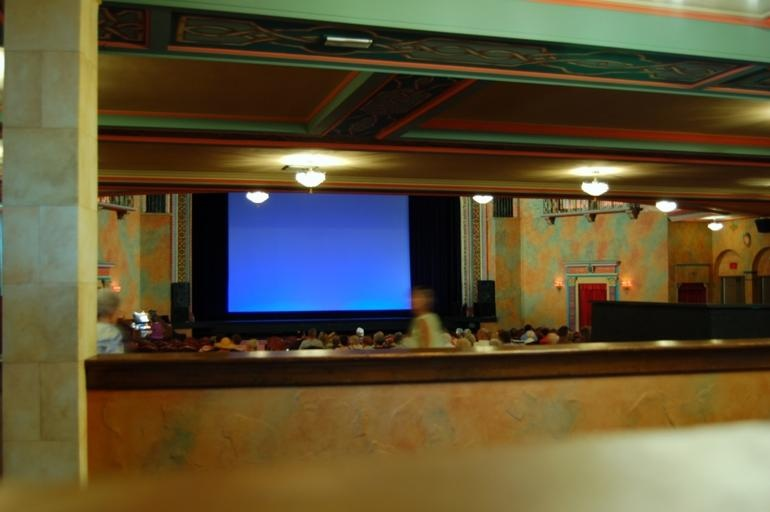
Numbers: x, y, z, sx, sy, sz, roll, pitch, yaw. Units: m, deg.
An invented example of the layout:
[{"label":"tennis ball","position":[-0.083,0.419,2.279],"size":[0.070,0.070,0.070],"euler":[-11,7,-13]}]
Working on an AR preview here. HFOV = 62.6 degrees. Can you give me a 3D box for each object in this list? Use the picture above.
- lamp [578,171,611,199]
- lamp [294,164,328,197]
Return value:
[{"label":"lamp","position":[3.835,-1.223,11.769],"size":[0.626,0.555,0.626],"euler":[10,18,38]},{"label":"lamp","position":[-1.298,-1.268,10.811],"size":[0.529,0.298,0.486],"euler":[0,5,-16]}]
